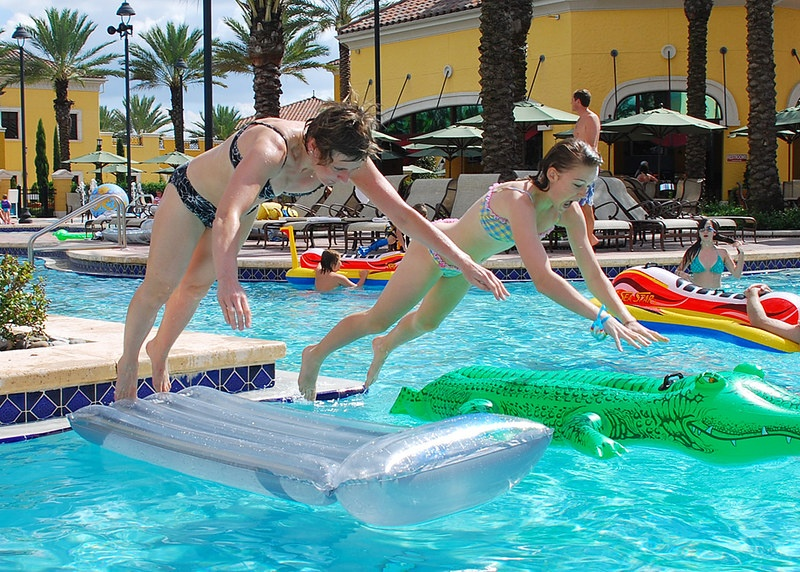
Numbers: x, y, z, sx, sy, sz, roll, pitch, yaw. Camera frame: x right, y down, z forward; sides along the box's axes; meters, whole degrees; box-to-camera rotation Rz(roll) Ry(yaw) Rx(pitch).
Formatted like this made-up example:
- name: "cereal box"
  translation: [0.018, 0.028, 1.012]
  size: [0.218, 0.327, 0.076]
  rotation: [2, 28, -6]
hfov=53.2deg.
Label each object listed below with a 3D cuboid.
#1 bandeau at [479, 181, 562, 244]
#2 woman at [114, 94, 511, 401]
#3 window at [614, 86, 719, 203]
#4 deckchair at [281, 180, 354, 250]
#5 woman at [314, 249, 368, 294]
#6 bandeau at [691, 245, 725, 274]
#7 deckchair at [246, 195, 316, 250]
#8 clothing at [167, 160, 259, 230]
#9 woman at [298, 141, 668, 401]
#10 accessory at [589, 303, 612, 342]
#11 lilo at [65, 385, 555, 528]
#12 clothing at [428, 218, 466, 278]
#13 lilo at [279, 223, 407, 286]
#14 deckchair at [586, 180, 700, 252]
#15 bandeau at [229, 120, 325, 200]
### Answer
- name: "bandeau"
  translation: [0.653, -0.370, 4.440]
  size: [0.374, 0.177, 0.470]
  rotation: [3, 17, 12]
- name: "woman"
  translation: [-0.849, -0.099, 3.895]
  size: [1.492, 1.521, 0.817]
  rotation: [5, 11, 36]
- name: "window"
  translation: [7.700, -4.065, 23.902]
  size: [2.366, 2.488, 2.410]
  rotation: [4, 27, 26]
- name: "deckchair"
  translation: [-1.627, -1.534, 16.698]
  size: [0.982, 1.508, 1.391]
  rotation: [-15, 5, -34]
- name: "woman"
  translation: [-0.792, -0.183, 10.583]
  size: [0.352, 0.589, 0.261]
  rotation: [31, 29, 29]
- name: "bandeau"
  translation: [3.007, -0.281, 7.873]
  size: [0.334, 0.214, 0.181]
  rotation: [-1, -2, 7]
- name: "deckchair"
  translation: [-2.383, -1.455, 16.997]
  size: [1.029, 1.117, 1.742]
  rotation: [4, 0, -10]
- name: "clothing"
  translation: [-0.974, -0.511, 3.958]
  size: [0.391, 0.152, 0.355]
  rotation: [41, 15, -11]
- name: "woman"
  translation: [0.359, -0.077, 4.616]
  size: [2.239, 1.327, 0.630]
  rotation: [-4, -2, 39]
- name: "accessory"
  translation: [0.969, 0.167, 3.907]
  size: [0.101, 0.160, 0.176]
  rotation: [19, 29, 20]
- name: "lilo"
  translation: [-0.567, 0.738, 3.697]
  size: [1.780, 0.324, 0.832]
  rotation: [1, 3, 42]
- name: "clothing"
  translation: [0.227, -0.232, 4.473]
  size: [0.290, 0.297, 0.119]
  rotation: [22, -26, -28]
- name: "lilo"
  translation: [-0.773, -0.419, 11.011]
  size: [1.648, 0.706, 1.009]
  rotation: [3, 15, 7]
- name: "deckchair"
  translation: [4.056, -1.274, 13.743]
  size: [1.142, 0.720, 0.678]
  rotation: [23, 11, 28]
- name: "bandeau"
  translation: [-0.641, -0.621, 3.853]
  size: [0.472, 0.396, 0.337]
  rotation: [-8, 24, 6]
